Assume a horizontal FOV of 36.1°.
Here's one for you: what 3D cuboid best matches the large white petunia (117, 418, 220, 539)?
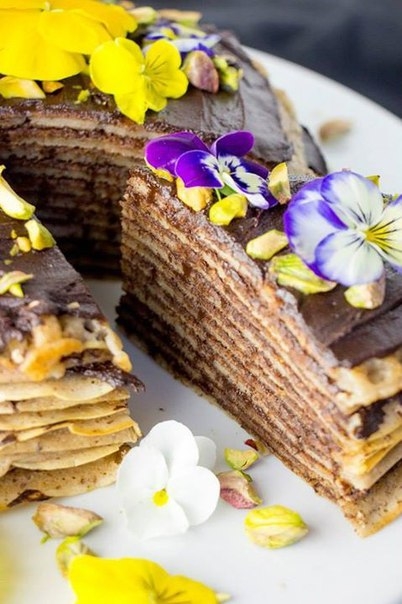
[{"bbox_3d":[-0.083,0.469,1.650,0.253,0.066,0.293,35,73,10],"label":"large white petunia"}]

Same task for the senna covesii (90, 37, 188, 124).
[{"bbox_3d":[-0.228,-0.702,2.086,0.092,0.308,0.287,-14,44,58],"label":"senna covesii"}]

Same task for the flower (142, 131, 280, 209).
[{"bbox_3d":[0.045,-0.382,1.706,0.294,0.233,0.413,15,27,33],"label":"flower"}]
